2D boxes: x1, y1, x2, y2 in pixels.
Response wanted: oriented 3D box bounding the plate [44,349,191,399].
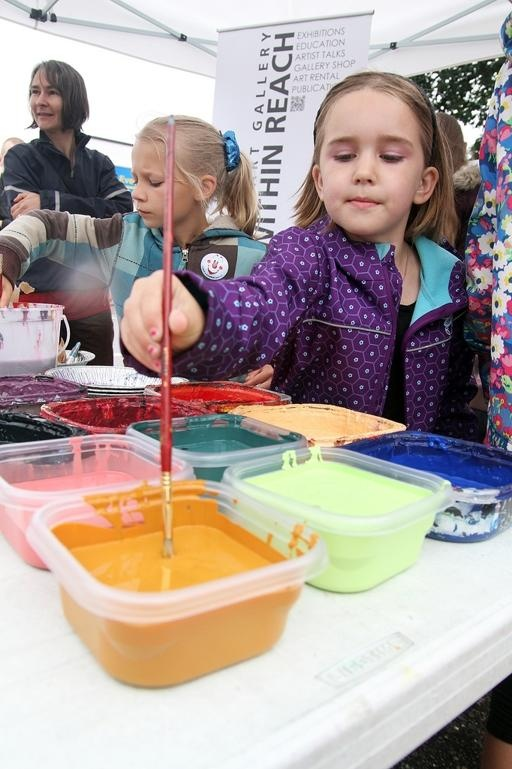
[{"bbox_3d":[-0.283,-0.033,1.185,0.286,0.078,0.207,-3,8,-30],"label":"plate"}]
